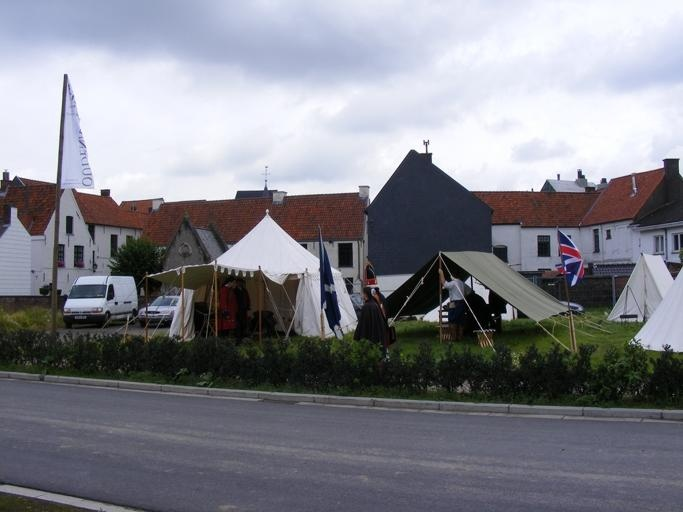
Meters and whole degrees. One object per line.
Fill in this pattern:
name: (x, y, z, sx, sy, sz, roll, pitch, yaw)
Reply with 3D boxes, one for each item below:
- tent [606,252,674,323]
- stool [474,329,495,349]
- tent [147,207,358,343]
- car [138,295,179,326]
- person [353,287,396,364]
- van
tent: (9.989, 1.243, 28.794, 1.994, 2.069, 2.705, -1, 1, 30)
stool: (3.669, 2.135, 21.896, 0.641, 0.593, 0.693, -5, -4, 24)
tent: (-2.294, 0.656, 25.372, 3.973, 3.423, 4.980, -2, -6, 22)
car: (-6.810, 2.097, 31.916, 1.238, 1.187, 3.196, -1, -6, 3)
person: (0.611, 1.326, 17.423, 0.681, 1.414, 0.654, -1, 4, 0)
van: (-9.633, 1.805, 34.181, 1.779, 2.053, 3.433, 0, 4, 8)
